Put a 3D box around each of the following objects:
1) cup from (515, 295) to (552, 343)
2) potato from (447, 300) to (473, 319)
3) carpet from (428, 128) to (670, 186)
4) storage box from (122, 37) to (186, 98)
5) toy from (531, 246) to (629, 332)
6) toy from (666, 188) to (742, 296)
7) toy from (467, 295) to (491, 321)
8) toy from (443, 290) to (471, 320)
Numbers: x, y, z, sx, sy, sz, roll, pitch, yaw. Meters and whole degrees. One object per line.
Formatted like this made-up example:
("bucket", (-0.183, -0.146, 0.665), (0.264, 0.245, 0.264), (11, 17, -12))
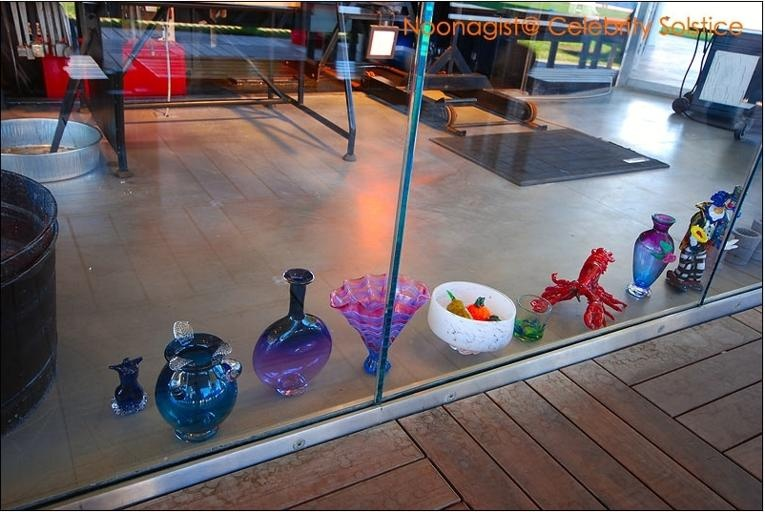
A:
("cup", (0.506, 0.208, 1.493), (0.116, 0.125, 0.122), (1, 31, 0))
("potato", (0.231, 0.161, 1.339), (0.081, 0.037, 0.038), (35, 41, -5))
("carpet", (0.525, -0.291, 1.327), (0.962, 0.158, 0.081), (-9, 31, -27))
("storage box", (-0.411, -0.333, 0.821), (0.140, 0.105, 0.074), (1, 2, -5))
("toy", (0.704, 0.095, 1.702), (0.333, 0.312, 0.089), (28, 2, -20))
("toy", (1.291, -0.054, 1.766), (0.295, 0.443, 0.077), (-11, 32, -28))
("toy", (0.299, 0.158, 1.373), (0.058, 0.070, 0.056), (14, 31, 22))
("toy", (0.228, 0.155, 1.336), (0.040, 0.124, 0.043), (-48, 18, -15))
